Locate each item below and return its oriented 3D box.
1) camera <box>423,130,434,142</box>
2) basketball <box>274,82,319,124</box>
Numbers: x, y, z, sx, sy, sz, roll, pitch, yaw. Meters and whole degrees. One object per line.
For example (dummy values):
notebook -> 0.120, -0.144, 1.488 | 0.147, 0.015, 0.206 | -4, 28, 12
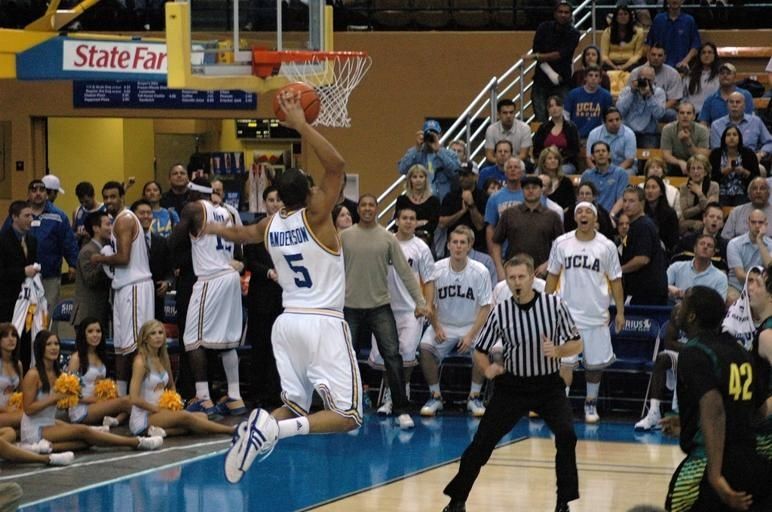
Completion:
camera -> 0.648, -1.811, 13.988 | 0.148, 0.179, 0.104 | 0, 3, 2
basketball -> -0.895, -1.530, 9.242 | 0.427, 0.450, 0.433 | -20, 20, 1
